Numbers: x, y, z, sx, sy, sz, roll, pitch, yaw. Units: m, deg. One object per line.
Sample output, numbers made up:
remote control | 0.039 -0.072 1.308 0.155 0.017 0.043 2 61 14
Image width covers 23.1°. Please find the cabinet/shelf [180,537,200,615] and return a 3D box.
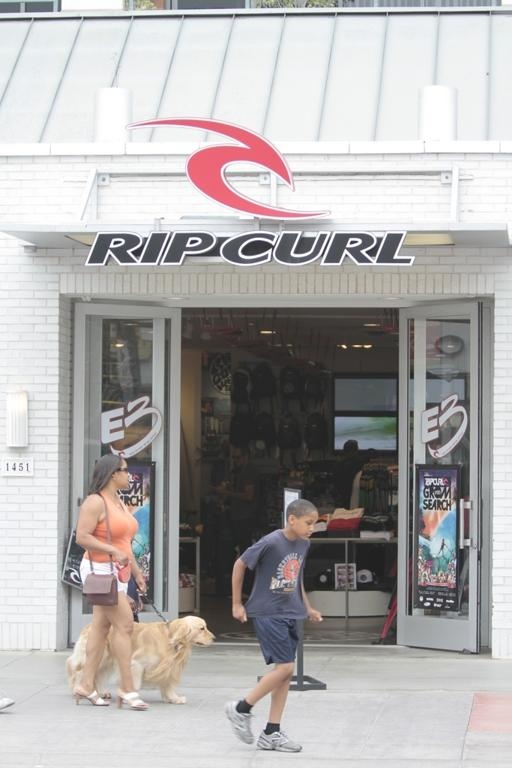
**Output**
cabinet/shelf | -0.688 1.992 13.057 0.211 0.802 1.032 0 -6 -4

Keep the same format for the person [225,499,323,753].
person | 0.103 1.319 6.883 0.543 1.362 0.439 1 -7 -12

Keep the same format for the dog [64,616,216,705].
dog | -0.762 1.748 8.034 0.895 0.599 0.332 2 -6 11

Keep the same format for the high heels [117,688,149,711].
high heels | -0.758 1.972 7.794 0.090 0.097 0.217 4 -13 -33

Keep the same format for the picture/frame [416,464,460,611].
picture/frame | 1.512 1.302 10.659 0.120 1.216 0.484 5 -8 -36

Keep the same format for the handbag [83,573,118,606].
handbag | -0.936 1.249 7.643 0.182 0.178 0.090 -1 -7 10

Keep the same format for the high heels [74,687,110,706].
high heels | -1.031 1.976 7.922 0.207 0.084 0.111 -5 -5 14

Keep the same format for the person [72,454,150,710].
person | -0.900 1.234 7.876 0.440 1.595 0.522 1 -7 -8

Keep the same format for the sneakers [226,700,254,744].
sneakers | -0.070 1.840 6.792 0.135 0.235 0.185 -5 -8 37

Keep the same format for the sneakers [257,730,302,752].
sneakers | 0.125 1.930 6.849 0.251 0.124 0.101 3 -2 8
